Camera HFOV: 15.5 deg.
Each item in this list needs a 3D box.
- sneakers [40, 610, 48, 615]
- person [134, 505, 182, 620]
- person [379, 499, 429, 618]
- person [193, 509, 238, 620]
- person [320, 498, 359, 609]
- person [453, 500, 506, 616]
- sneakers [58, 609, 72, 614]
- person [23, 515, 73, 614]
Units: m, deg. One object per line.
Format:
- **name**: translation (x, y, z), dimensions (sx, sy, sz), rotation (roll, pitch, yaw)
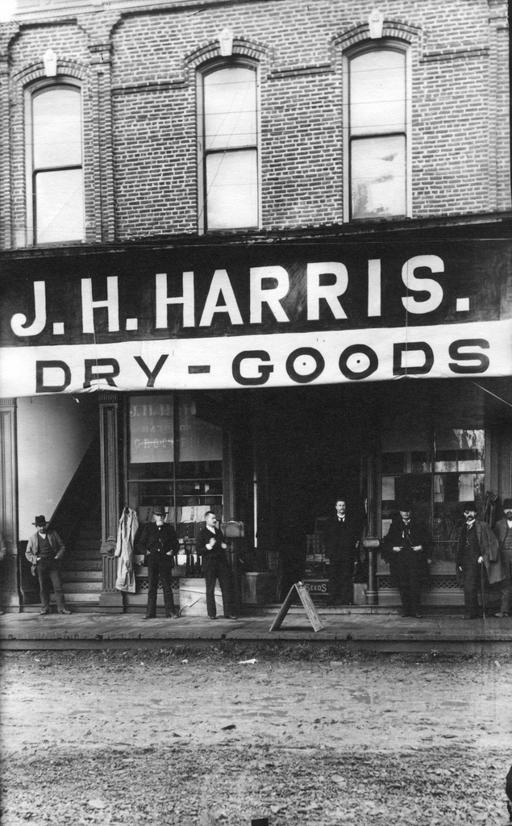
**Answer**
- **sneakers**: translation (-2.848, 2.670, 25.467), dimensions (0.115, 0.067, 0.045), rotation (4, -7, -4)
- **person**: translation (-1.281, 1.992, 25.092), dimensions (0.537, 1.542, 0.622), rotation (2, -12, -4)
- **person**: translation (1.965, 1.936, 24.618), dimensions (0.576, 1.469, 0.645), rotation (0, -12, 7)
- **person**: translation (-0.479, 1.997, 24.662), dimensions (0.510, 1.463, 0.883), rotation (-1, -13, 10)
- **person**: translation (1.127, 1.868, 25.223), dimensions (0.370, 1.306, 0.543), rotation (-5, -14, 29)
- **person**: translation (2.857, 1.945, 24.126), dimensions (0.556, 1.401, 0.500), rotation (1, -12, 1)
- **sneakers**: translation (-2.576, 2.668, 25.557), dimensions (0.183, 0.109, 0.072), rotation (-10, -12, 39)
- **person**: translation (-2.824, 2.107, 25.753), dimensions (0.627, 1.398, 0.792), rotation (3, -13, -8)
